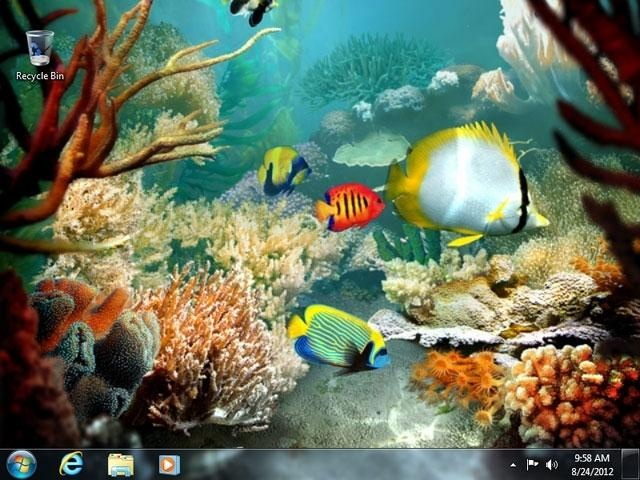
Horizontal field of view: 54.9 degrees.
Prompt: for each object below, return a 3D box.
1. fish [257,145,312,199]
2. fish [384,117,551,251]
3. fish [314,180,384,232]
[{"bbox_3d":[-0.286,-0.525,4.879,0.410,0.463,0.222,-26,58,-6],"label":"fish"},{"bbox_3d":[0.888,-0.344,3.870,1.068,0.864,0.372,6,39,18],"label":"fish"},{"bbox_3d":[0.225,-0.286,5.326,0.665,0.182,0.535,-3,93,7],"label":"fish"}]
